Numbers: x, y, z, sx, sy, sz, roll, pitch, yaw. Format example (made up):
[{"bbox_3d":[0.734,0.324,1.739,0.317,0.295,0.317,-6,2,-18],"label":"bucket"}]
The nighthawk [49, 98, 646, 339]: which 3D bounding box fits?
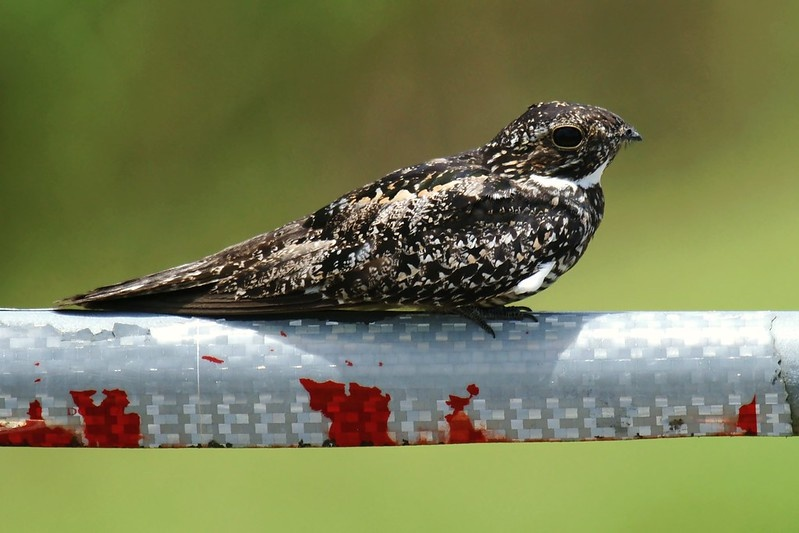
[{"bbox_3d":[0.055,-0.111,3.460,1.688,0.546,0.499,0,-6,-2],"label":"nighthawk"}]
